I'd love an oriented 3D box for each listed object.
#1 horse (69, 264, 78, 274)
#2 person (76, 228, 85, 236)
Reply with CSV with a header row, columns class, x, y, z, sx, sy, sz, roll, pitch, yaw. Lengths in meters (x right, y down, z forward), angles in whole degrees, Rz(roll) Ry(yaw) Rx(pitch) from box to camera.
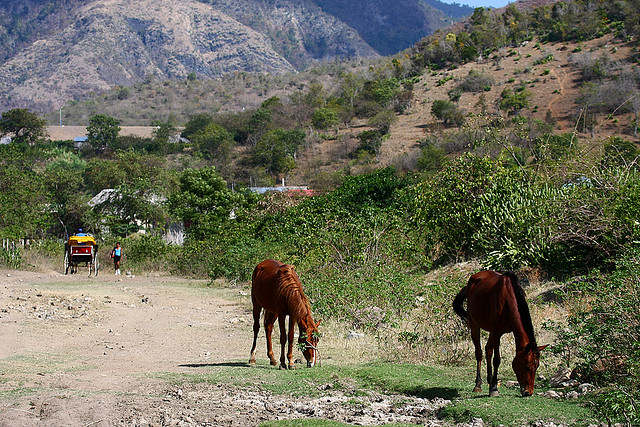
class,x,y,z,sx,sy,sz,roll,pitch,yaw
horse,-32.271,7.467,126.680,0.797,1.252,1.681,-1,-8,15
person,-31.421,2.718,126.832,0.999,0.889,2.394,0,-8,2
